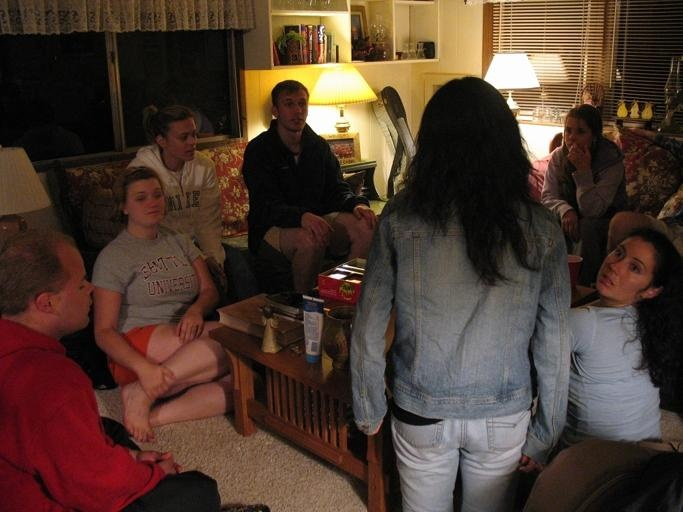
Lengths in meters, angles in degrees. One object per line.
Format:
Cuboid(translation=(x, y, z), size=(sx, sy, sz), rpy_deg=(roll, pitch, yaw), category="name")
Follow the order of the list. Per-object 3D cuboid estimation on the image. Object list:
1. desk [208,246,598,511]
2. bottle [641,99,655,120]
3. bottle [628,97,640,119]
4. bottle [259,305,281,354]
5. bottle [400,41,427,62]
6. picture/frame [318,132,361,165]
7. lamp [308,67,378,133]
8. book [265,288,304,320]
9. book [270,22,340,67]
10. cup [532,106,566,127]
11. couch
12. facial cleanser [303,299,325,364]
Cuboid(translation=(-0.035, 0.468, 2.341), size=(0.725, 0.355, 0.704), rpy_deg=(-16, 25, -41), category="desk")
Cuboid(translation=(2.457, -1.152, 4.586), size=(0.090, 0.142, 0.238), rpy_deg=(7, 20, 27), category="bottle")
Cuboid(translation=(2.406, -1.190, 4.688), size=(0.077, 0.152, 0.231), rpy_deg=(7, 20, 26), category="bottle")
Cuboid(translation=(-0.289, 0.277, 2.304), size=(0.075, 0.181, 0.154), rpy_deg=(-5, 18, -7), category="bottle")
Cuboid(translation=(0.646, -1.876, 5.266), size=(0.252, 0.178, 0.162), rpy_deg=(0, 10, -2), category="bottle")
Cuboid(translation=(-0.021, -0.838, 4.492), size=(0.431, 0.310, 0.044), rpy_deg=(-11, 14, -23), category="picture/frame")
Cuboid(translation=(0.048, -1.288, 4.705), size=(0.527, 0.535, 0.510), rpy_deg=(-21, 22, -41), category="lamp")
Cuboid(translation=(-0.249, 0.213, 2.528), size=(0.118, 0.041, 0.122), rpy_deg=(7, 14, 7), category="book")
Cuboid(translation=(-0.278, -1.606, 4.378), size=(0.541, 0.281, 0.248), rpy_deg=(-7, 18, -15), category="book")
Cuboid(translation=(1.855, -1.238, 5.101), size=(0.360, 0.202, 0.170), rpy_deg=(12, 13, 15), category="cup")
Cuboid(translation=(-0.747, -0.194, 3.166), size=(0.884, 0.577, 0.434), rpy_deg=(-15, 15, -43), category="couch")
Cuboid(translation=(-0.106, 0.274, 2.196), size=(0.078, 0.247, 0.096), rpy_deg=(-3, 17, -3), category="facial cleanser")
